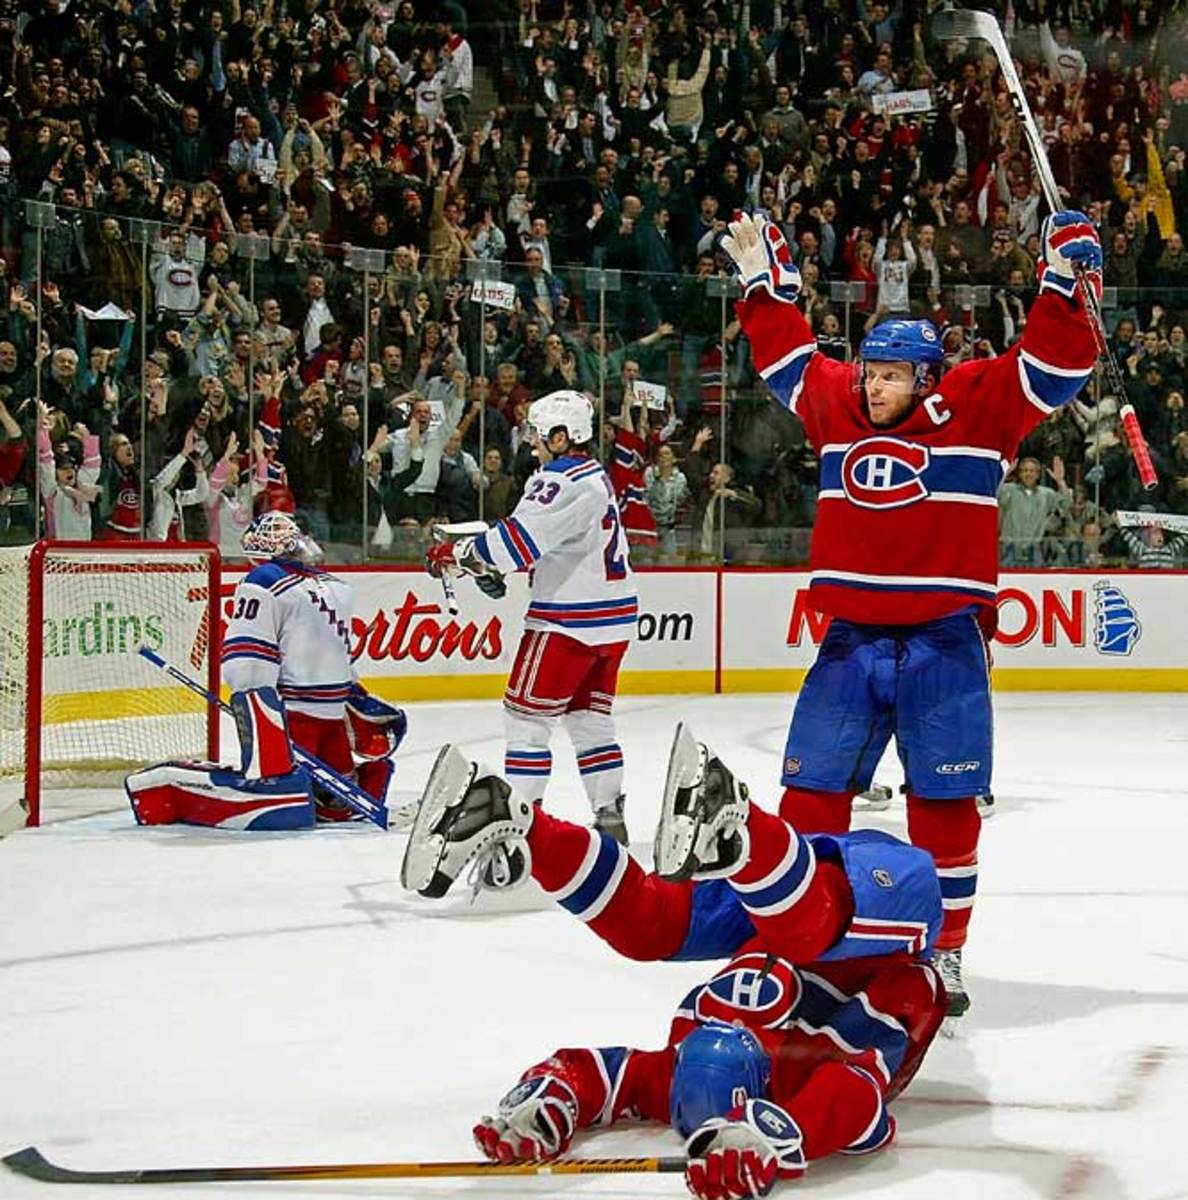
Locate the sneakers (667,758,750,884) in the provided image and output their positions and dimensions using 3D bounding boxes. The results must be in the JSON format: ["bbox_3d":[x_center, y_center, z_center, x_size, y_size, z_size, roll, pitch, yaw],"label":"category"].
[{"bbox_3d":[0.198,0.384,3.066,0.081,0.256,0.111,7,-32,9],"label":"sneakers"}]

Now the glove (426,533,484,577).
[{"bbox_3d":[-0.464,-0.140,5.992,0.173,0.075,0.115,1,17,9],"label":"glove"}]

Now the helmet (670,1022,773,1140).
[{"bbox_3d":[0.225,0.870,3.195,0.163,0.220,0.229,-6,-43,18],"label":"helmet"}]

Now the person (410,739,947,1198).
[{"bbox_3d":[0.148,0.613,3.314,0.640,0.665,0.971,-2,0,42],"label":"person"}]

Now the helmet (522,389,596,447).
[{"bbox_3d":[-0.111,-0.626,6.222,0.198,0.165,0.165,6,19,12],"label":"helmet"}]

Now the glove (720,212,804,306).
[{"bbox_3d":[0.442,-0.881,4.637,0.161,0.262,0.077,-24,-20,17],"label":"glove"}]

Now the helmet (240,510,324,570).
[{"bbox_3d":[-1.143,-0.223,6.679,0.256,0.206,0.190,-4,12,-13],"label":"helmet"}]

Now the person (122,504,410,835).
[{"bbox_3d":[-1.158,0.262,6.677,0.910,1.160,0.727,1,4,35],"label":"person"}]

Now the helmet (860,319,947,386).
[{"bbox_3d":[0.740,-0.589,4.297,0.175,0.180,0.140,1,3,4],"label":"helmet"}]

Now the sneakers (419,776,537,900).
[{"bbox_3d":[-0.222,0.416,3.169,0.141,0.319,0.105,12,29,-29],"label":"sneakers"}]

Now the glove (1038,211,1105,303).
[{"bbox_3d":[1.136,-0.789,4.163,0.148,0.204,0.198,-1,-6,-1],"label":"glove"}]
